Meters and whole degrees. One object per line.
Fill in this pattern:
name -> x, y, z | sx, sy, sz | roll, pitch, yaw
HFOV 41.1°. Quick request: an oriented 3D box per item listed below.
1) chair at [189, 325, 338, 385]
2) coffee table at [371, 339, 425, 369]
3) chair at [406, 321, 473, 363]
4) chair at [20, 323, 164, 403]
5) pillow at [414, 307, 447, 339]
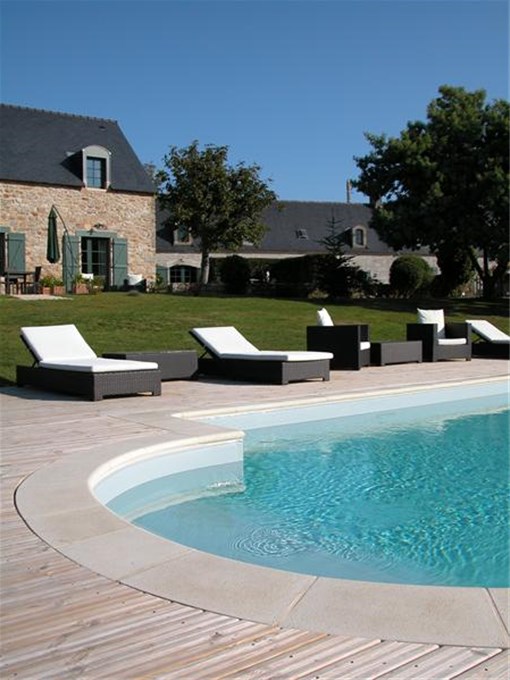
chair -> 0.059, 0.116, 9.037 | 1.576, 0.647, 0.881 | 2, 3, 43
coffee table -> 2.398, 0.245, 11.602 | 1.025, 0.441, 0.310 | 4, 1, -35
chair -> 3.397, 0.059, 12.754 | 0.930, 0.707, 0.894 | -1, 1, -21
chair -> -1.913, 0.213, 7.746 | 0.841, 0.766, 1.597 | -3, 3, -43
pillow -> 3.491, -0.320, 13.600 | 0.995, 0.772, 0.336 | 1, 2, -35
